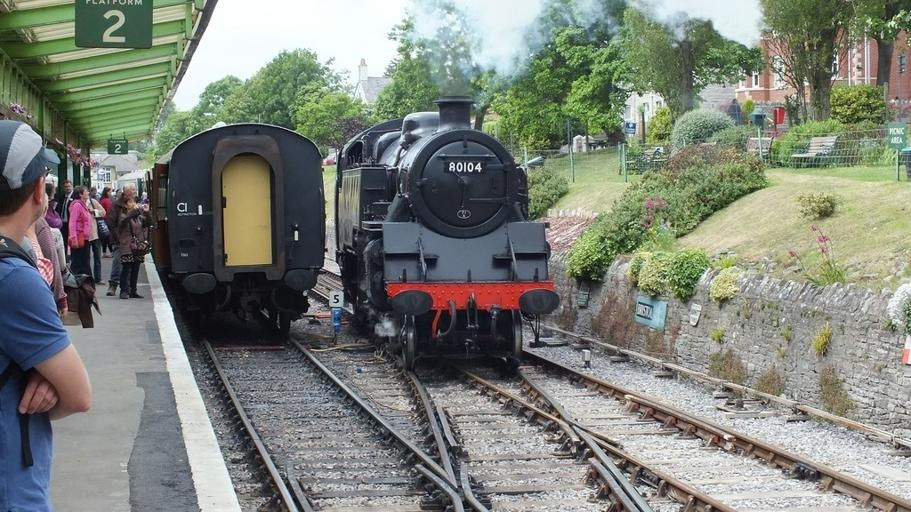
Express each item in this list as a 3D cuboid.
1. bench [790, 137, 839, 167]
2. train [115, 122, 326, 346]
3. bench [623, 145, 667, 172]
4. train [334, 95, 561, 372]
[{"bbox_3d":[12.603,-3.651,27.165,1.102,1.165,1.768,0,2,-23],"label":"bench"},{"bbox_3d":[-5.036,-0.517,18.406,3.755,5.203,1.713,-2,11,-13],"label":"train"},{"bbox_3d":[7.984,-4.346,32.807,1.801,1.055,2.939,-2,-1,0],"label":"bench"},{"bbox_3d":[-0.616,-0.619,17.287,3.262,5.810,5.622,-6,12,-32],"label":"train"}]
